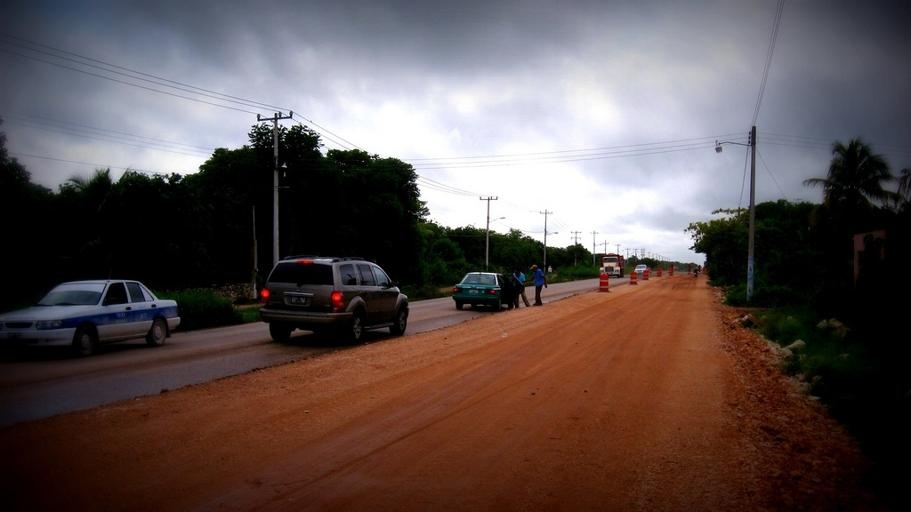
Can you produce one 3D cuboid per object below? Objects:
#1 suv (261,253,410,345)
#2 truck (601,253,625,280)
[{"bbox_3d":[-3.886,1.462,19.265,4.314,2.844,1.923,2,-2,-44],"label":"suv"},{"bbox_3d":[21.143,1.422,77.083,3.228,3.198,6.824,-2,-6,22],"label":"truck"}]
